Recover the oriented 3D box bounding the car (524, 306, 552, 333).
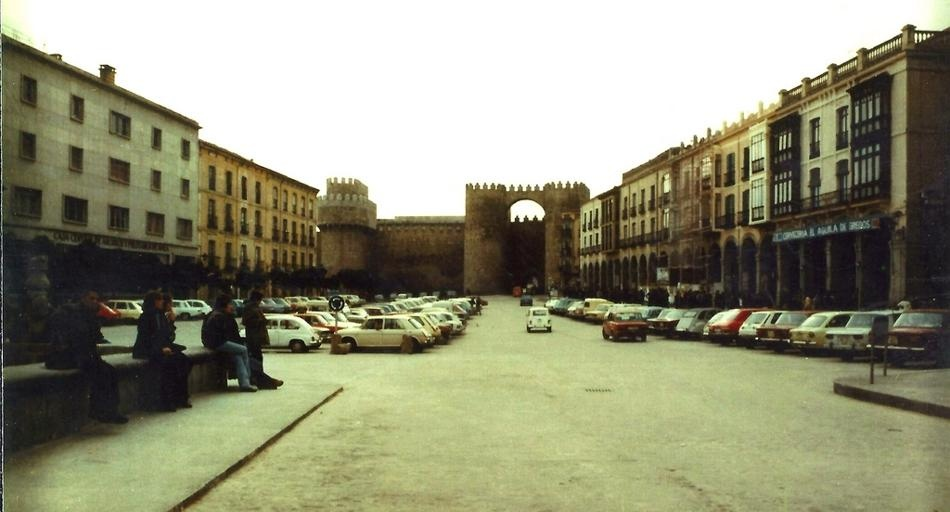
[{"bbox_3d":[3.812,3.890,57.335,1.363,1.065,2.401,-1,0,1],"label":"car"}]
